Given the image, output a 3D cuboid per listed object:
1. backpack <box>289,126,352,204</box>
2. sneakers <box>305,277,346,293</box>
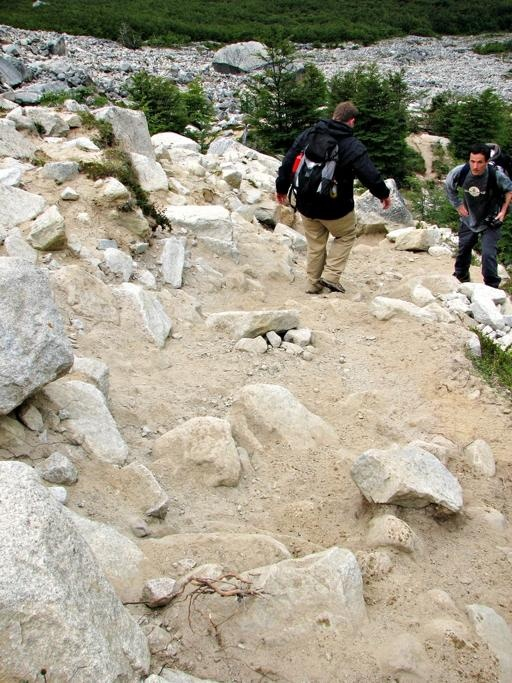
[{"bbox_3d":[0.678,-1.753,6.763,0.467,0.724,0.572,-10,35,-42],"label":"backpack"},{"bbox_3d":[0.819,-0.621,7.805,0.455,0.172,0.157,7,-11,-22],"label":"sneakers"}]
